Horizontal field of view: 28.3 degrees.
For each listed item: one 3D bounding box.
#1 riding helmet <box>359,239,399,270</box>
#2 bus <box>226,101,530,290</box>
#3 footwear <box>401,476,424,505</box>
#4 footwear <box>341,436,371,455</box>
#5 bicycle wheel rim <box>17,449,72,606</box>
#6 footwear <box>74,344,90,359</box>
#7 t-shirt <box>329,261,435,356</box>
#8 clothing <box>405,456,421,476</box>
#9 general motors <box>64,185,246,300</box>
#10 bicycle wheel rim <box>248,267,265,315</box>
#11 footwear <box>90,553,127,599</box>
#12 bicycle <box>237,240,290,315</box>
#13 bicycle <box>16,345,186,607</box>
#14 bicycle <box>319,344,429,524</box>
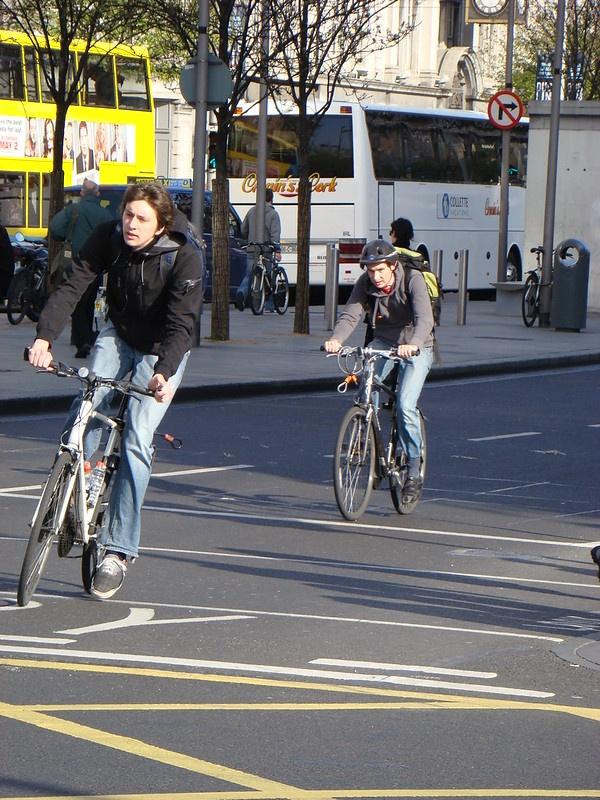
[{"bbox_3d":[0.493,-0.925,7.496,0.227,0.153,0.313,3,2,27],"label":"riding helmet"},{"bbox_3d":[2.955,-5.656,33.397,4.024,5.158,10.966,4,9,35],"label":"bus"},{"bbox_3d":[0.742,0.570,7.779,0.071,0.118,0.233,3,10,11],"label":"footwear"},{"bbox_3d":[0.354,0.273,7.407,0.124,0.136,0.044,2,4,-36],"label":"footwear"},{"bbox_3d":[-0.992,0.515,4.635,0.194,0.632,0.436,2,1,-13],"label":"bicycle wheel rim"},{"bbox_3d":[-2.775,-0.629,15.254,0.191,0.230,0.138,-2,12,-4],"label":"footwear"},{"bbox_3d":[0.521,-0.602,7.496,0.492,0.514,0.636,0,17,27],"label":"t-shirt"},{"bbox_3d":[0.735,0.422,7.760,0.093,0.182,0.104,-2,4,-14],"label":"clothing"},{"bbox_3d":[-2.389,-3.596,26.867,2.893,3.270,5.169,3,9,20],"label":"general motors"},{"bbox_3d":[-0.925,-2.356,25.429,0.317,0.736,0.612,2,1,-4],"label":"bicycle wheel rim"},{"bbox_3d":[-0.780,0.740,4.881,0.083,0.097,0.244,20,27,-14],"label":"footwear"},{"bbox_3d":[-0.713,-2.589,25.675,0.764,1.147,1.706,1,1,17],"label":"bicycle"},{"bbox_3d":[-0.912,0.358,5.041,0.510,0.736,1.168,22,-1,9],"label":"bicycle"},{"bbox_3d":[0.540,0.212,7.809,0.593,1.087,1.637,4,0,25],"label":"bicycle"}]
